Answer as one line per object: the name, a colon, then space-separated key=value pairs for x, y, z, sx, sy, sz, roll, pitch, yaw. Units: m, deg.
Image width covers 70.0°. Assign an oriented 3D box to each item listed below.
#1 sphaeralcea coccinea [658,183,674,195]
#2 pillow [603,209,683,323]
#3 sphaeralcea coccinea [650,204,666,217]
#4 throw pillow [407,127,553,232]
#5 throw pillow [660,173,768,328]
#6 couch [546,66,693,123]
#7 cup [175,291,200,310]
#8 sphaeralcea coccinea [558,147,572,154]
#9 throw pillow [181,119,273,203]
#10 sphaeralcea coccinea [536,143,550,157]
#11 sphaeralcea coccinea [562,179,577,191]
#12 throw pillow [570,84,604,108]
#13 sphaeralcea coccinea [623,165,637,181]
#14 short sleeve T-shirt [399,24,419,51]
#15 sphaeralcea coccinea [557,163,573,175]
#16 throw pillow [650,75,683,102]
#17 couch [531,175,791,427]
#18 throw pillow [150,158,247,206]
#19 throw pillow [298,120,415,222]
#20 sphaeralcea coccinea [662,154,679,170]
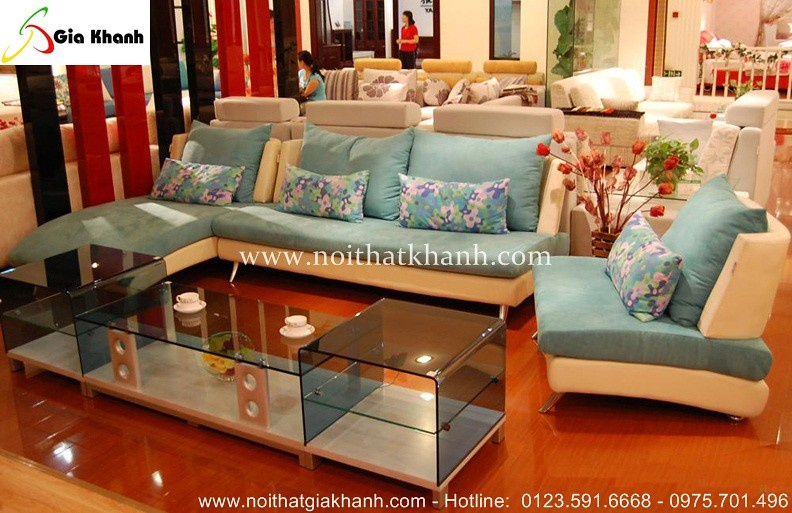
sphaeralcea coccinea: x=1.759 y=-0.436 z=3.691 sx=0.085 sy=0.047 sz=0.082 roll=-23 pitch=23 yaw=-17
pillow: x=1.423 y=0.045 z=3.295 sx=0.295 sy=0.388 sz=0.746 roll=-5 pitch=24 yaw=6
sphaeralcea coccinea: x=1.734 y=-0.298 z=3.721 sx=0.122 sy=0.061 sz=0.094 roll=1 pitch=5 yaw=-6
throw pillow: x=0.784 y=-0.556 z=4.442 sx=0.391 sy=0.697 sz=1.075 roll=8 pitch=4 yaw=-37
throw pillow: x=1.711 y=-0.010 z=3.066 sx=0.436 sy=0.686 sz=0.960 roll=-3 pitch=13 yaw=18
couch: x=2.962 y=-2.149 z=7.577 sx=0.833 sy=0.716 sz=1.870 roll=12 pitch=29 yaw=32
cup: x=-1.244 y=0.261 z=3.376 sx=0.123 sy=0.080 sz=0.091 roll=2 pitch=14 yaw=5
sphaeralcea coccinea: x=1.245 y=-0.786 z=4.189 sx=0.057 sy=0.026 sz=0.068 roll=-12 pitch=21 yaw=-38
throw pillow: x=-1.457 y=-0.800 z=4.921 sx=0.720 sy=0.602 sz=0.338 roll=7 pitch=17 yaw=14
sphaeralcea coccinea: x=1.046 y=-0.746 z=4.028 sx=0.102 sy=0.098 sz=0.065 roll=9 pitch=54 yaw=-1
sphaeralcea coccinea: x=1.223 y=-0.508 z=4.049 sx=0.099 sy=0.095 sz=0.090 roll=-22 pitch=29 yaw=-40
throw pillow: x=2.400 y=-2.008 z=7.174 sx=0.379 sy=0.347 sz=0.125 roll=-7 pitch=-13 yaw=-35
sphaeralcea coccinea: x=1.599 y=-0.576 z=3.877 sx=0.085 sy=0.055 sz=0.130 roll=6 pitch=31 yaw=28
short sleeve T-shirt: x=0.270 y=-4.563 z=11.855 sx=0.349 sy=0.485 sz=0.341 roll=0 pitch=20 yaw=6
sphaeralcea coccinea: x=1.190 y=-0.601 z=3.958 sx=0.090 sy=0.037 sz=0.081 roll=-16 pitch=50 yaw=2
throw pillow: x=4.139 y=-2.550 z=8.650 sx=0.425 sy=0.385 sz=0.160 roll=11 pitch=9 yaw=29
couch: x=1.355 y=0.285 z=3.417 sx=1.404 sy=1.172 sz=1.373 roll=4 pitch=23 yaw=19
throw pillow: x=-1.675 y=-0.619 z=4.827 sx=0.919 sy=0.325 sz=0.351 roll=7 pitch=39 yaw=8
throw pillow: x=-0.368 y=-0.720 z=4.704 sx=1.019 sy=0.707 sz=0.361 roll=15 pitch=23 yaw=24
sphaeralcea coccinea: x=1.826 y=-0.615 z=3.749 sx=0.104 sy=0.043 sz=0.121 roll=15 pitch=29 yaw=39
